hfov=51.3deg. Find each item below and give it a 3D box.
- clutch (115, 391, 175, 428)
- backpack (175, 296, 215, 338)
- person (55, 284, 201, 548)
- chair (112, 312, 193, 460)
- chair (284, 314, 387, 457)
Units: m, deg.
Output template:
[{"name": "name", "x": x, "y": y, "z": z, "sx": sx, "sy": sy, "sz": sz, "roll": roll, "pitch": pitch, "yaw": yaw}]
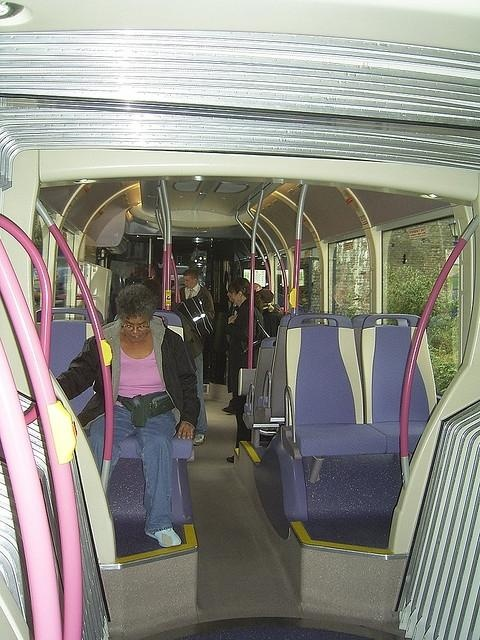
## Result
[{"name": "clutch", "x": -0.623, "y": 0.602, "z": 3.464, "sx": 0.252, "sy": 0.238, "sz": 0.107, "roll": -1, "pitch": -3, "yaw": -40}, {"name": "backpack", "x": -0.572, "y": -0.083, "z": 6.363, "sx": 0.387, "sy": 0.514, "sz": 0.201, "roll": -31, "pitch": 9, "yaw": 8}, {"name": "person", "x": -0.669, "y": 0.583, "z": 3.324, "sx": 0.949, "sy": 1.566, "sz": 0.970, "roll": -4, "pitch": 10, "yaw": -28}, {"name": "chair", "x": -0.596, "y": 0.508, "z": 3.629, "sx": 0.602, "sy": 0.850, "sz": 0.823, "roll": -5, "pitch": 42, "yaw": -16}, {"name": "chair", "x": 0.729, "y": 0.542, "z": 4.014, "sx": 0.774, "sy": 1.251, "sz": 1.021, "roll": 1, "pitch": -3, "yaw": -11}]
